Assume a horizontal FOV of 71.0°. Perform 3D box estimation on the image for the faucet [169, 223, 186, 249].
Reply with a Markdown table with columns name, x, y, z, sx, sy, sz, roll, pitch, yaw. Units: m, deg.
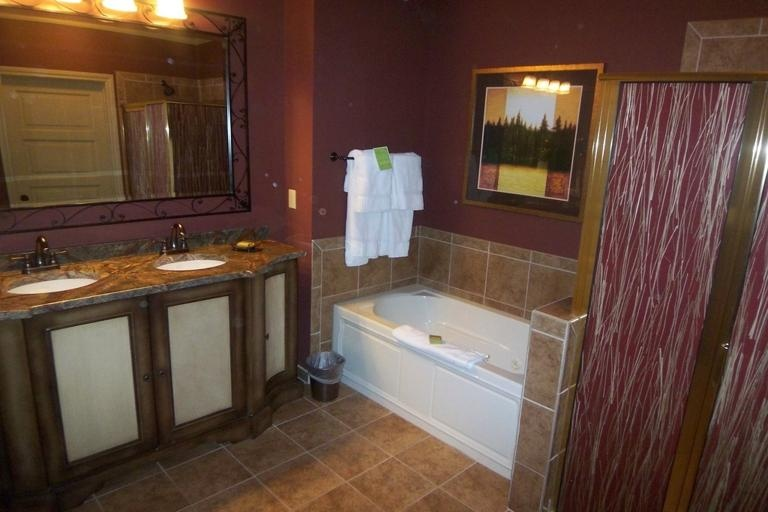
| name | x | y | z | sx | sy | sz | roll | pitch | yaw |
| --- | --- | --- | --- | --- | --- | --- | --- | --- | --- |
| faucet | -1.404 | -0.129 | 3.646 | 0.094 | 0.181 | 0.098 | 13 | 21 | 36 |

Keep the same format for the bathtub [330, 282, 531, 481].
| name | x | y | z | sx | sy | sz | roll | pitch | yaw |
| --- | --- | --- | --- | --- | --- | --- | --- | --- | --- |
| bathtub | 0.458 | 0.820 | 4.124 | 1.598 | 0.762 | 0.861 | 14 | 21 | 38 |

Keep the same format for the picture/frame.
| name | x | y | z | sx | sy | sz | roll | pitch | yaw |
| --- | --- | --- | --- | --- | --- | --- | --- | --- | --- |
| picture/frame | 1.094 | -0.832 | 3.837 | 1.129 | 1.237 | 0.059 | 14 | 19 | 34 |

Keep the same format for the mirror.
| name | x | y | z | sx | sy | sz | roll | pitch | yaw |
| --- | --- | --- | --- | --- | --- | --- | --- | --- | --- |
| mirror | -1.703 | -0.923 | 3.438 | 1.479 | 1.380 | 0.036 | -10 | 19 | -36 |

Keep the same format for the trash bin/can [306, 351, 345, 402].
| name | x | y | z | sx | sy | sz | roll | pitch | yaw |
| --- | --- | --- | --- | --- | --- | --- | --- | --- | --- |
| trash bin/can | -0.419 | 0.901 | 4.160 | 0.323 | 0.331 | 0.328 | 4 | 8 | 43 |

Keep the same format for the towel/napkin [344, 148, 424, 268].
| name | x | y | z | sx | sy | sz | roll | pitch | yaw |
| --- | --- | --- | --- | --- | --- | --- | --- | --- | --- |
| towel/napkin | -0.026 | -0.394 | 4.159 | 0.745 | 1.046 | 0.359 | -12 | 21 | -33 |
